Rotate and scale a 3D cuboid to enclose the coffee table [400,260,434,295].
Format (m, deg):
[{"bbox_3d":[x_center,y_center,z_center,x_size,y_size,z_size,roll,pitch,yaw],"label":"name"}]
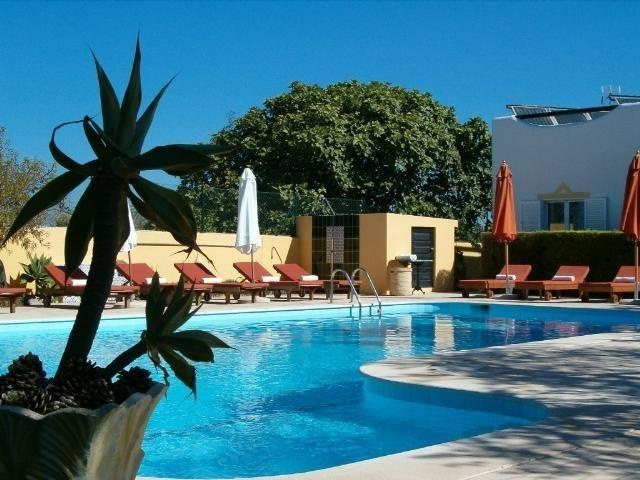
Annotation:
[{"bbox_3d":[3.178,1.178,19.599,1.408,1.434,0.936,2,-4,-30],"label":"coffee table"}]

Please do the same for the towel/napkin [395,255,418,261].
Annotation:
[{"bbox_3d":[2.646,0.603,18.588,0.654,0.233,0.272,0,2,30],"label":"towel/napkin"}]
